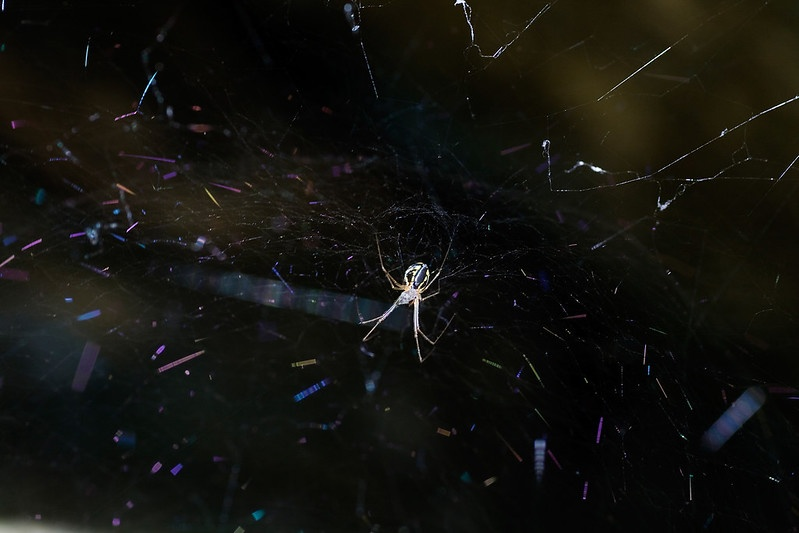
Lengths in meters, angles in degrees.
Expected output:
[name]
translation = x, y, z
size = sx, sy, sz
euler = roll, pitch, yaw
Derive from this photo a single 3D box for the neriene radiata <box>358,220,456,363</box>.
[neriene radiata]
translation = 0.031, 0.157, 2.782
size = 0.263, 0.340, 0.578
euler = 7, 63, -11
